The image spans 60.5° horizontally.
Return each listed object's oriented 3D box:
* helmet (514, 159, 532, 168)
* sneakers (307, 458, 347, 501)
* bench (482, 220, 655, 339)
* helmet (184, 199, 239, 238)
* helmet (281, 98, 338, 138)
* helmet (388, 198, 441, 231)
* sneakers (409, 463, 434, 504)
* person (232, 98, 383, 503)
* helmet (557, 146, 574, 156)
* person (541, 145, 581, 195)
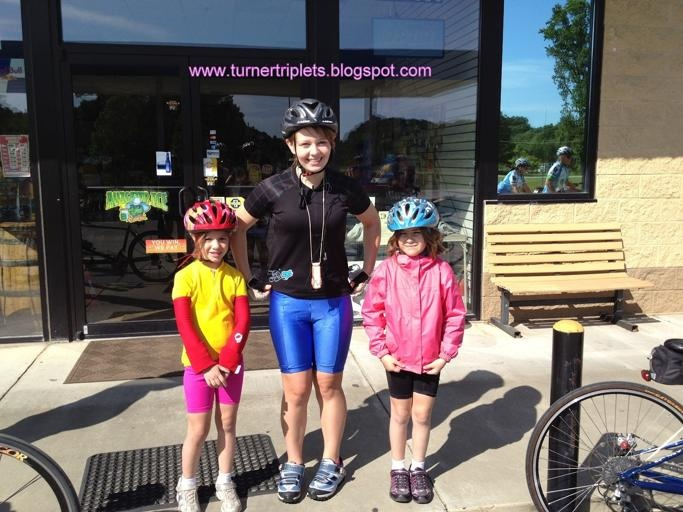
[{"bbox_3d":[2.103,-1.087,6.814,0.122,0.122,0.107,-13,25,1],"label":"helmet"},{"bbox_3d":[-0.083,1.477,3.931,0.165,0.205,0.412,3,6,27],"label":"sneakers"},{"bbox_3d":[2.542,0.244,6.635,1.633,1.181,0.754,-1,6,-2],"label":"bench"},{"bbox_3d":[-0.841,-0.244,3.745,0.321,0.232,0.459,-4,-5,-23],"label":"helmet"},{"bbox_3d":[-0.183,-0.915,3.852,0.319,0.244,0.473,0,1,1],"label":"helmet"},{"bbox_3d":[0.461,-0.269,3.902,0.320,0.211,0.477,-9,0,14],"label":"helmet"},{"bbox_3d":[0.525,1.507,3.812,0.099,0.107,0.258,1,-5,-1],"label":"sneakers"},{"bbox_3d":[-0.179,0.466,3.865,0.978,2.176,0.533,-5,11,-12],"label":"person"},{"bbox_3d":[2.635,-1.232,6.905,0.135,0.137,0.123,-7,15,1],"label":"helmet"},{"bbox_3d":[2.615,-0.927,7.022,0.369,0.822,0.277,-8,22,-14],"label":"person"}]
